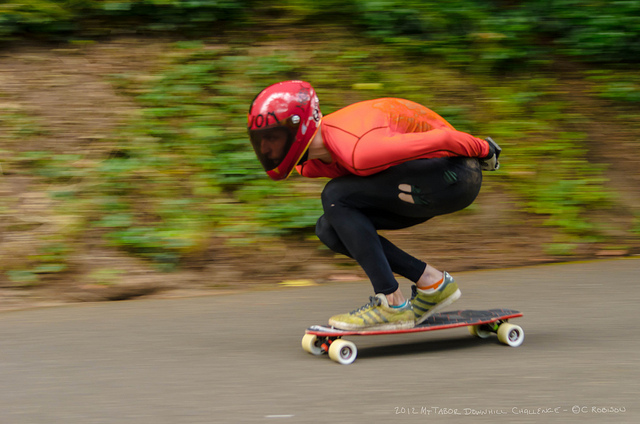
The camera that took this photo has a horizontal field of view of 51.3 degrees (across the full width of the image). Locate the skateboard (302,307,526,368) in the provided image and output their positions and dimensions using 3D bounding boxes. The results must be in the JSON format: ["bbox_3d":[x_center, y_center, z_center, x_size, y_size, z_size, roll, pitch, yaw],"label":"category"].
[{"bbox_3d":[0.700,0.897,4.864,1.886,0.110,0.469,-3,2,-9],"label":"skateboard"}]
